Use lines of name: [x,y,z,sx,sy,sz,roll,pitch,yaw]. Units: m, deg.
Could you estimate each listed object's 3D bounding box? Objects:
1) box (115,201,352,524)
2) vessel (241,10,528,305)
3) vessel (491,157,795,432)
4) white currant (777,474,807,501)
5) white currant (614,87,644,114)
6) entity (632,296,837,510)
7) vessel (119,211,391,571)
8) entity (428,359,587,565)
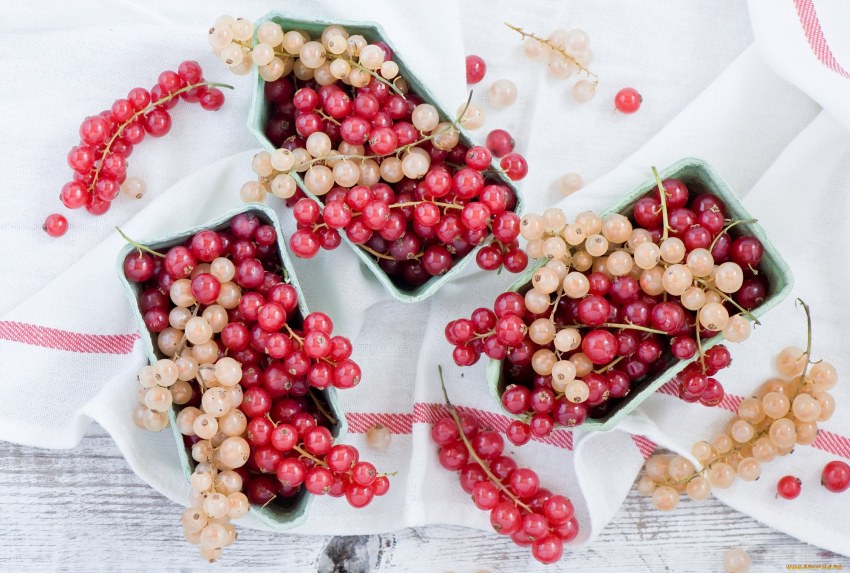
box: [-0.511,0.242,2.595,0.518,0.308,0.938,-21,100,-9]
vessel: [-0.101,-0.375,2.595,0.516,0.278,0.943,-42,101,3]
vessel: [0.589,0.043,2.568,0.895,0.301,0.546,-39,90,13]
white currant: [1.041,0.569,2.587,0.068,0.079,0.065,3,84,2]
white currant: [0.592,-0.536,2.639,0.078,0.058,0.059,-25,104,14]
entity: [0.905,0.443,2.544,0.382,0.229,0.703,23,71,39]
vessel: [-0.478,0.266,2.642,0.674,0.366,0.941,-23,98,-7]
entity: [0.203,0.548,2.620,0.271,0.216,0.716,-22,73,-31]
